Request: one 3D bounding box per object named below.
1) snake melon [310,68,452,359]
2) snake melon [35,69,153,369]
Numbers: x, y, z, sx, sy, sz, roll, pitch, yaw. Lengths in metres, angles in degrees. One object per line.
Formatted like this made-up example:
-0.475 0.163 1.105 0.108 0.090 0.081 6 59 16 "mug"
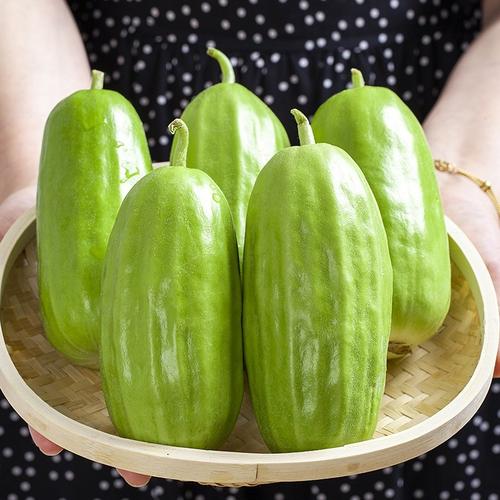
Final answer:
0.130 -0.028 0.602 0.105 0.107 0.220 -18 80 20 "snake melon"
-0.136 -0.036 0.602 0.104 0.096 0.215 -1 93 -15 "snake melon"
